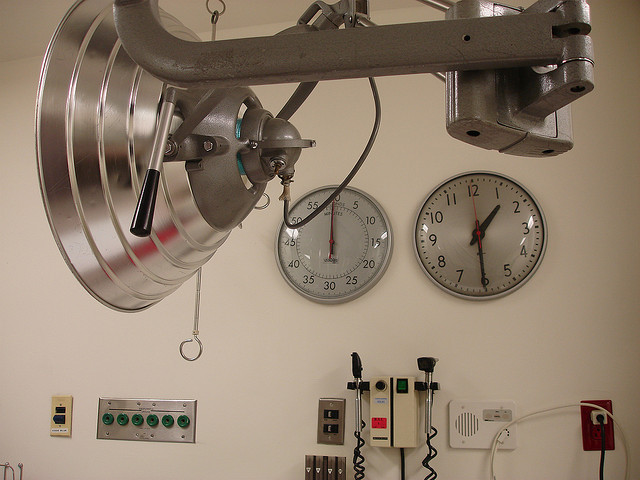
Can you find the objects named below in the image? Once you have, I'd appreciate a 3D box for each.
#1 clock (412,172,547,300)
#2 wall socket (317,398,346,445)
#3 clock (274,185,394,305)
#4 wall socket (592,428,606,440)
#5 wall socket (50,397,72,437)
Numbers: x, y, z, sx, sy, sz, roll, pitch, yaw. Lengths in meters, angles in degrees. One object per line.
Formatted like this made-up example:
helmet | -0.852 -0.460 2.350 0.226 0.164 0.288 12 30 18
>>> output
clock | 0.615 -0.003 2.815 0.366 0.438 0.044 -7 -12 6
wall socket | 0.042 0.674 2.803 0.107 0.178 0.020 2 9 0
clock | 0.055 0.014 2.925 0.461 0.447 0.104 -3 -21 7
wall socket | 0.969 0.681 2.641 0.030 0.039 0.014 -9 -23 22
wall socket | -1.035 0.705 3.019 0.082 0.167 0.025 3 8 -10
